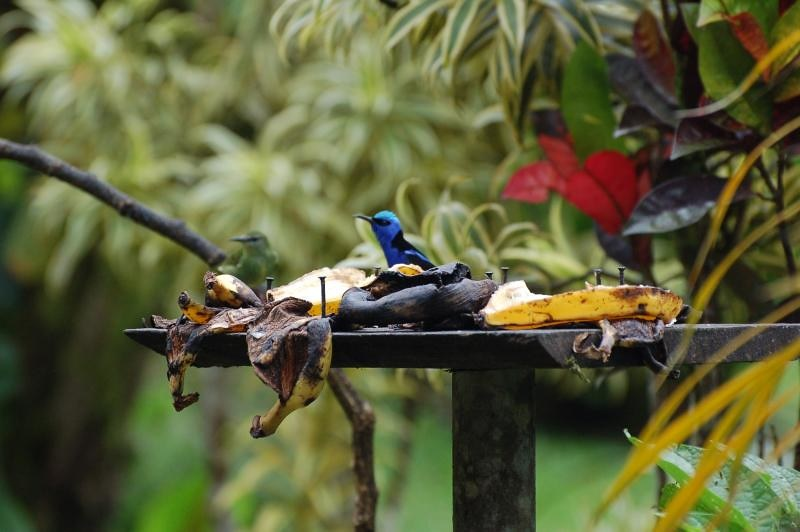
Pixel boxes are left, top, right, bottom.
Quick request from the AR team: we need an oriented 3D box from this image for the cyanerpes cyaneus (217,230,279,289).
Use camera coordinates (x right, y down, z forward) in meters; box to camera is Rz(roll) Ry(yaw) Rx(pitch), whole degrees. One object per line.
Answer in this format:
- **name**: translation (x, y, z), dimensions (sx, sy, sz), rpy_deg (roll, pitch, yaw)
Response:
- **cyanerpes cyaneus**: translation (-0.586, -0.019, 4.729), dimensions (0.236, 0.266, 0.181), rpy_deg (-7, -7, 33)

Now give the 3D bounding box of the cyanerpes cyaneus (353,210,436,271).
- **cyanerpes cyaneus**: translation (-0.017, -0.091, 4.616), dimensions (0.263, 0.289, 0.213), rpy_deg (-12, 12, -39)
